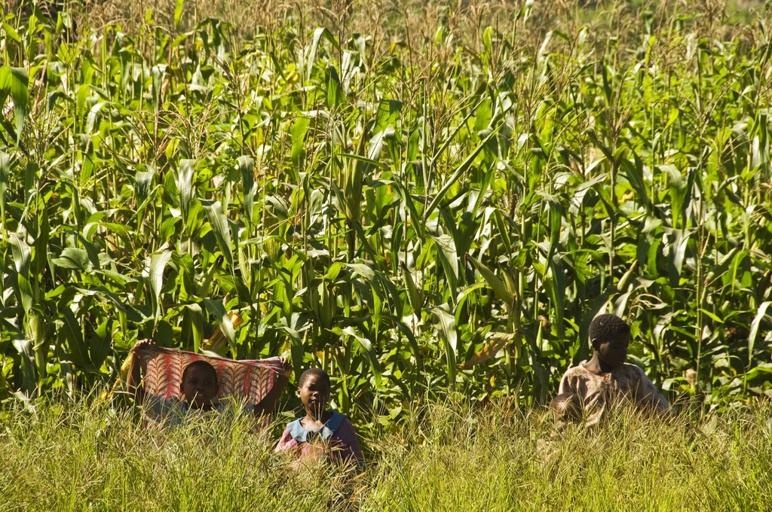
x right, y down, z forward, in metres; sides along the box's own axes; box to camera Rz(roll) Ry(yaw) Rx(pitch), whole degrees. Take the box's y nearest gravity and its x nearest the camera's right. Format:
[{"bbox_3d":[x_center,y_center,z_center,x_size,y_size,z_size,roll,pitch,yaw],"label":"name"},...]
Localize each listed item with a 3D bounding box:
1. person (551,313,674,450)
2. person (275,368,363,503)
[{"bbox_3d":[1.414,0.782,5.803,0.730,0.902,0.539,-5,18,6],"label":"person"},{"bbox_3d":[-0.413,1.079,5.819,0.678,0.849,0.470,-1,-21,-3],"label":"person"}]
